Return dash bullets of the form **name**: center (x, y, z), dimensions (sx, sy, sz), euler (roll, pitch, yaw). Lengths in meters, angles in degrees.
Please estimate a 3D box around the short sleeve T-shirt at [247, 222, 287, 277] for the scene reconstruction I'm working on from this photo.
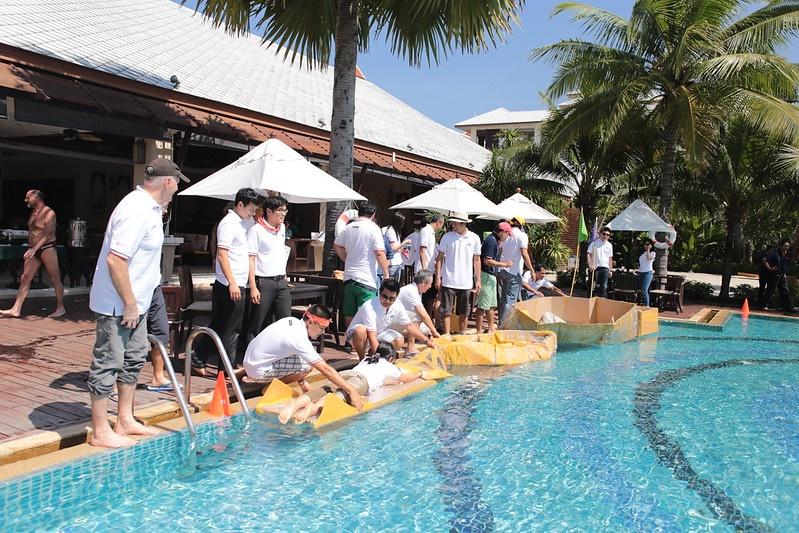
- **short sleeve T-shirt**: center (-1.901, -0.254, 7.093), dimensions (0.367, 0.736, 0.697), euler (2, 4, 31)

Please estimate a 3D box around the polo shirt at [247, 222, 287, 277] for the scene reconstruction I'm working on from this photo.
- **polo shirt**: center (-1.901, -0.254, 7.093), dimensions (0.367, 0.736, 0.697), euler (2, 4, 31)

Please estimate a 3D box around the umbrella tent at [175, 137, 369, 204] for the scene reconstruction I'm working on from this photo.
- **umbrella tent**: center (-1.867, -1.465, 8.235), dimensions (1.695, 0.787, 1.717), euler (3, 4, 41)

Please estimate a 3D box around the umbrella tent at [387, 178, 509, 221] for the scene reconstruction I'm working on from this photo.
- **umbrella tent**: center (1.373, -1.549, 11.910), dimensions (1.564, 0.733, 1.624), euler (7, 4, 32)

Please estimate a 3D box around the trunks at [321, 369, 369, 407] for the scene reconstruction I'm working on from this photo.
- **trunks**: center (-0.725, 1.626, 6.718), dimensions (0.451, 0.302, 0.641), euler (7, 13, 16)

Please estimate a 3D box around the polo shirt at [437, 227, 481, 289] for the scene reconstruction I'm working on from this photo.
- **polo shirt**: center (1.123, -0.126, 9.688), dimensions (1.099, 1.567, 0.568), euler (1, -2, -7)

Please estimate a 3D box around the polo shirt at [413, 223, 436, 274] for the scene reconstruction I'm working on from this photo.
- **polo shirt**: center (0.494, -0.347, 10.358), dimensions (0.492, 1.286, 1.009), euler (2, 5, 10)

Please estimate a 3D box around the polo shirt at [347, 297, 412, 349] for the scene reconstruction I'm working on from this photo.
- **polo shirt**: center (-0.274, 0.772, 7.900), dimensions (0.844, 0.685, 0.701), euler (10, 18, -44)

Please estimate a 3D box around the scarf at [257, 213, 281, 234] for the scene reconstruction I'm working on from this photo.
- **scarf**: center (-1.847, -0.614, 7.166), dimensions (0.213, 0.122, 0.258), euler (10, 0, 33)

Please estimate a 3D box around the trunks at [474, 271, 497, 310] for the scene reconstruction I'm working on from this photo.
- **trunks**: center (1.769, 0.534, 10.571), dimensions (0.559, 1.190, 0.865), euler (-1, 0, 10)

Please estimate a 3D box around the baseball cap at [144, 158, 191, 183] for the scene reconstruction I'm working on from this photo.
- **baseball cap**: center (-2.504, -1.003, 5.576), dimensions (0.320, 0.284, 0.514), euler (8, 10, 44)

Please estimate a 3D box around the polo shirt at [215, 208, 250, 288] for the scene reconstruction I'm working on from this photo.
- **polo shirt**: center (-2.224, -0.224, 6.796), dimensions (0.461, 1.024, 0.435), euler (-4, 14, -29)

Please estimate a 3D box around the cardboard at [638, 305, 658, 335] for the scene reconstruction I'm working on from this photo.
- **cardboard**: center (5.794, 1.293, 11.874), dimensions (0.495, 0.700, 0.894), euler (0, 3, 34)

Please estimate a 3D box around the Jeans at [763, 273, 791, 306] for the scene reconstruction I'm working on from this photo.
- **Jeans**: center (12.015, 0.780, 16.045), dimensions (0.752, 1.173, 0.906), euler (13, 16, 39)

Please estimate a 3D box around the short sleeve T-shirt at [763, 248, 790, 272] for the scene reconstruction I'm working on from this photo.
- **short sleeve T-shirt**: center (11.803, -0.191, 15.964), dimensions (1.081, 0.897, 0.577), euler (0, -3, -26)

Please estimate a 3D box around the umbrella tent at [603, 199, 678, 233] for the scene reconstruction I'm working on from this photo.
- **umbrella tent**: center (7.061, -1.381, 14.927), dimensions (1.234, 0.601, 1.267), euler (0, 1, -18)

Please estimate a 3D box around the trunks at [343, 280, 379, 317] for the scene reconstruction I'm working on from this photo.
- **trunks**: center (-0.625, 0.489, 8.135), dimensions (0.474, 0.498, 0.288), euler (8, 12, 29)

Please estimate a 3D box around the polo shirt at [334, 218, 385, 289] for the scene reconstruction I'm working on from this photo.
- **polo shirt**: center (-0.671, -0.215, 8.339), dimensions (1.100, 1.423, 0.566), euler (4, 9, 20)

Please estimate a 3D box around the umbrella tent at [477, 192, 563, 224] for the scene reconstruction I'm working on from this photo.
- **umbrella tent**: center (3.209, -1.497, 13.395), dimensions (1.365, 0.579, 1.396), euler (0, -1, -26)

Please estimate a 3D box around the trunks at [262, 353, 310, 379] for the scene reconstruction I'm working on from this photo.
- **trunks**: center (-1.498, 1.328, 6.647), dimensions (0.494, 0.204, 0.320), euler (-10, 14, -33)
